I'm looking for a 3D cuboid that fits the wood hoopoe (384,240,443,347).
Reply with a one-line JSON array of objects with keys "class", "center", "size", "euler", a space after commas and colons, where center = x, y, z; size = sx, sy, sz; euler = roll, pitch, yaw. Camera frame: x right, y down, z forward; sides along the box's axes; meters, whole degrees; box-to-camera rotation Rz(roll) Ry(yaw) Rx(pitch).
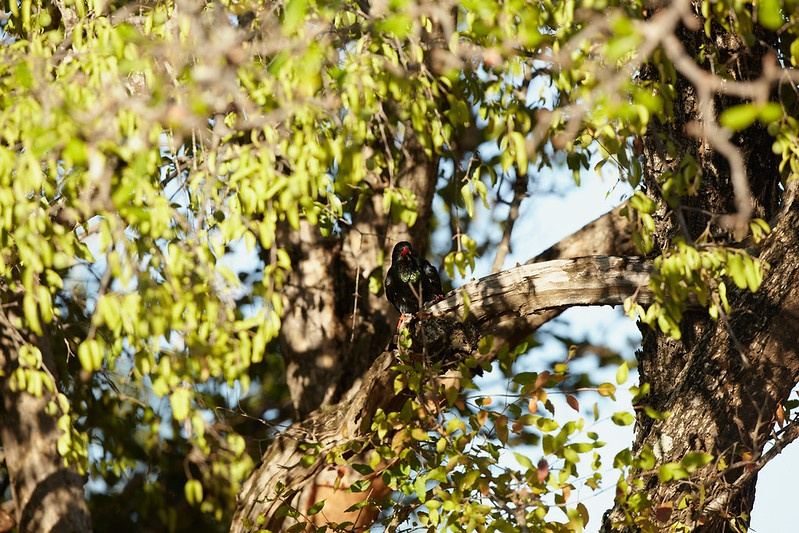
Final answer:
[{"class": "wood hoopoe", "center": [0.084, 0.115, 13.166], "size": [0.450, 0.838, 0.921], "euler": [-13, 12, 2]}]
